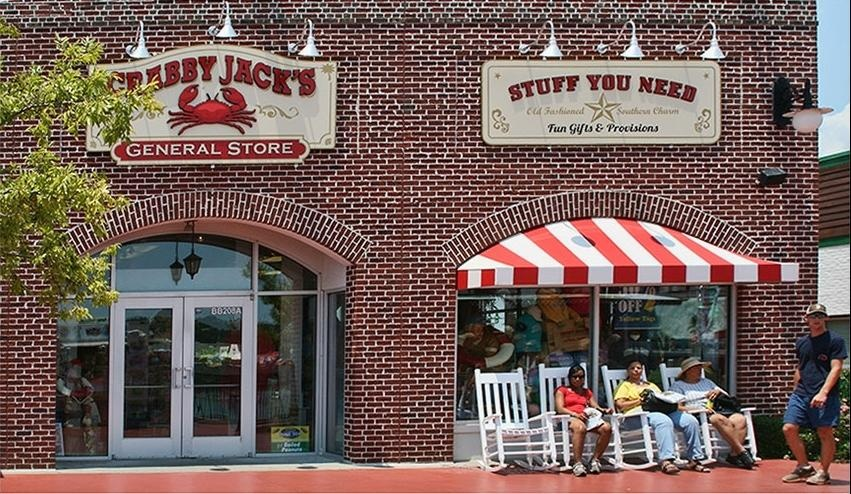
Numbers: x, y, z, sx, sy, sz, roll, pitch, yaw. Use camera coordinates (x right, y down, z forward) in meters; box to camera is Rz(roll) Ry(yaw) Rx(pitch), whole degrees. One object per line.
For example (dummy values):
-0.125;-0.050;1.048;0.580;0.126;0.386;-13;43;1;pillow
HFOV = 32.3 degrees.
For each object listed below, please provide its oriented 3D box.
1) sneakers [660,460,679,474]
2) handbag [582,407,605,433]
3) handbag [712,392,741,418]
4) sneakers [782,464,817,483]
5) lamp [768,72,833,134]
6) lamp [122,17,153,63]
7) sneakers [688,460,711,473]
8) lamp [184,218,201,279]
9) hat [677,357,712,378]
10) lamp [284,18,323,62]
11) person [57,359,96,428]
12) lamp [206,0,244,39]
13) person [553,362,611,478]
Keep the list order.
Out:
4.775;4.370;28.788;0.324;0.284;0.226;-4;-13;9;sneakers
3.330;3.453;29.127;0.381;0.451;0.156;-3;-14;5;handbag
6.049;3.212;29.544;0.521;0.193;0.469;4;-14;10;handbag
7.105;4.374;27.976;0.754;0.261;0.273;-14;9;-4;sneakers
7.754;-2.977;30.546;0.919;1.275;0.811;0;-13;-8;lamp
-5.963;-4.273;30.212;0.521;0.844;0.469;1;-13;-11;lamp
5.373;4.353;28.890;0.208;0.153;0.449;0;-3;-44;sneakers
-5.051;0.122;31.339;0.378;1.096;0.491;-3;-13;2;lamp
5.417;2.561;29.961;0.582;0.162;0.505;-21;-9;26;hat
-2.678;-4.256;30.399;0.916;0.917;0.735;0;-3;38;lamp
-7.402;3.135;31.028;0.774;1.408;0.339;-3;-14;4;person
-4.224;-4.674;30.244;0.651;0.845;0.555;-1;-13;-5;lamp
3.131;3.508;29.322;1.070;2.237;0.771;-2;-13;-2;person
